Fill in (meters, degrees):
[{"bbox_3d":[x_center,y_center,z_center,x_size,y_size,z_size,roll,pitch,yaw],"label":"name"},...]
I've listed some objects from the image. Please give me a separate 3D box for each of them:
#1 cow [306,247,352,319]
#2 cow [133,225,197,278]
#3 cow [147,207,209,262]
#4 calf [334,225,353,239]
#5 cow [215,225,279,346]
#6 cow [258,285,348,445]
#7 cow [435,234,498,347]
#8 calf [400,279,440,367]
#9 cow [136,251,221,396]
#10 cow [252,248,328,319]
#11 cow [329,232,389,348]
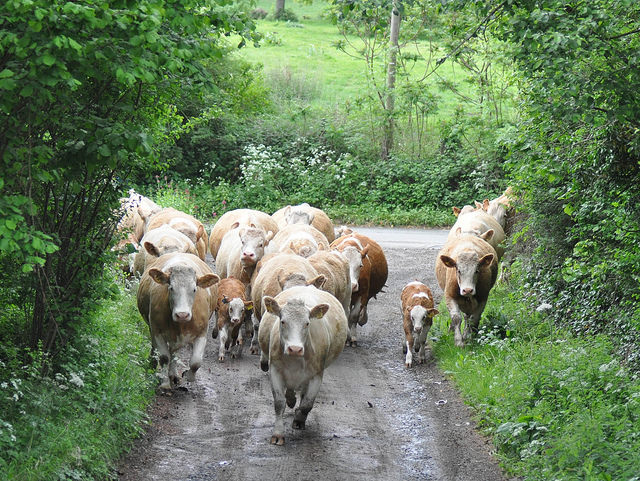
[{"bbox_3d":[0.148,0.612,11.649,0.531,0.839,1.436,-2,-1,8],"label":"cow"},{"bbox_3d":[-2.982,0.236,12.080,0.768,0.920,1.567,2,18,-20],"label":"cow"},{"bbox_3d":[-2.938,0.150,13.460,1.228,0.725,0.659,-1,44,-27],"label":"cow"},{"bbox_3d":[0.568,-0.191,14.950,0.173,0.334,0.604,-1,3,-17],"label":"calf"},{"bbox_3d":[-1.535,0.377,13.447,0.865,1.563,2.842,0,-1,-6],"label":"cow"},{"bbox_3d":[-0.292,1.625,9.372,1.172,2.089,3.477,5,4,3],"label":"cow"},{"bbox_3d":[2.974,0.971,12.955,1.207,1.987,3.725,-1,2,13],"label":"cow"},{"bbox_3d":[1.819,1.531,12.152,0.578,1.380,2.208,2,7,6],"label":"calf"},{"bbox_3d":[-2.146,1.279,9.968,1.015,1.984,1.450,-4,14,-31],"label":"cow"},{"bbox_3d":[-0.580,0.703,10.403,0.697,0.905,1.466,-3,3,-6],"label":"cow"},{"bbox_3d":[0.670,0.906,13.682,1.288,2.180,3.943,6,4,5],"label":"cow"}]
